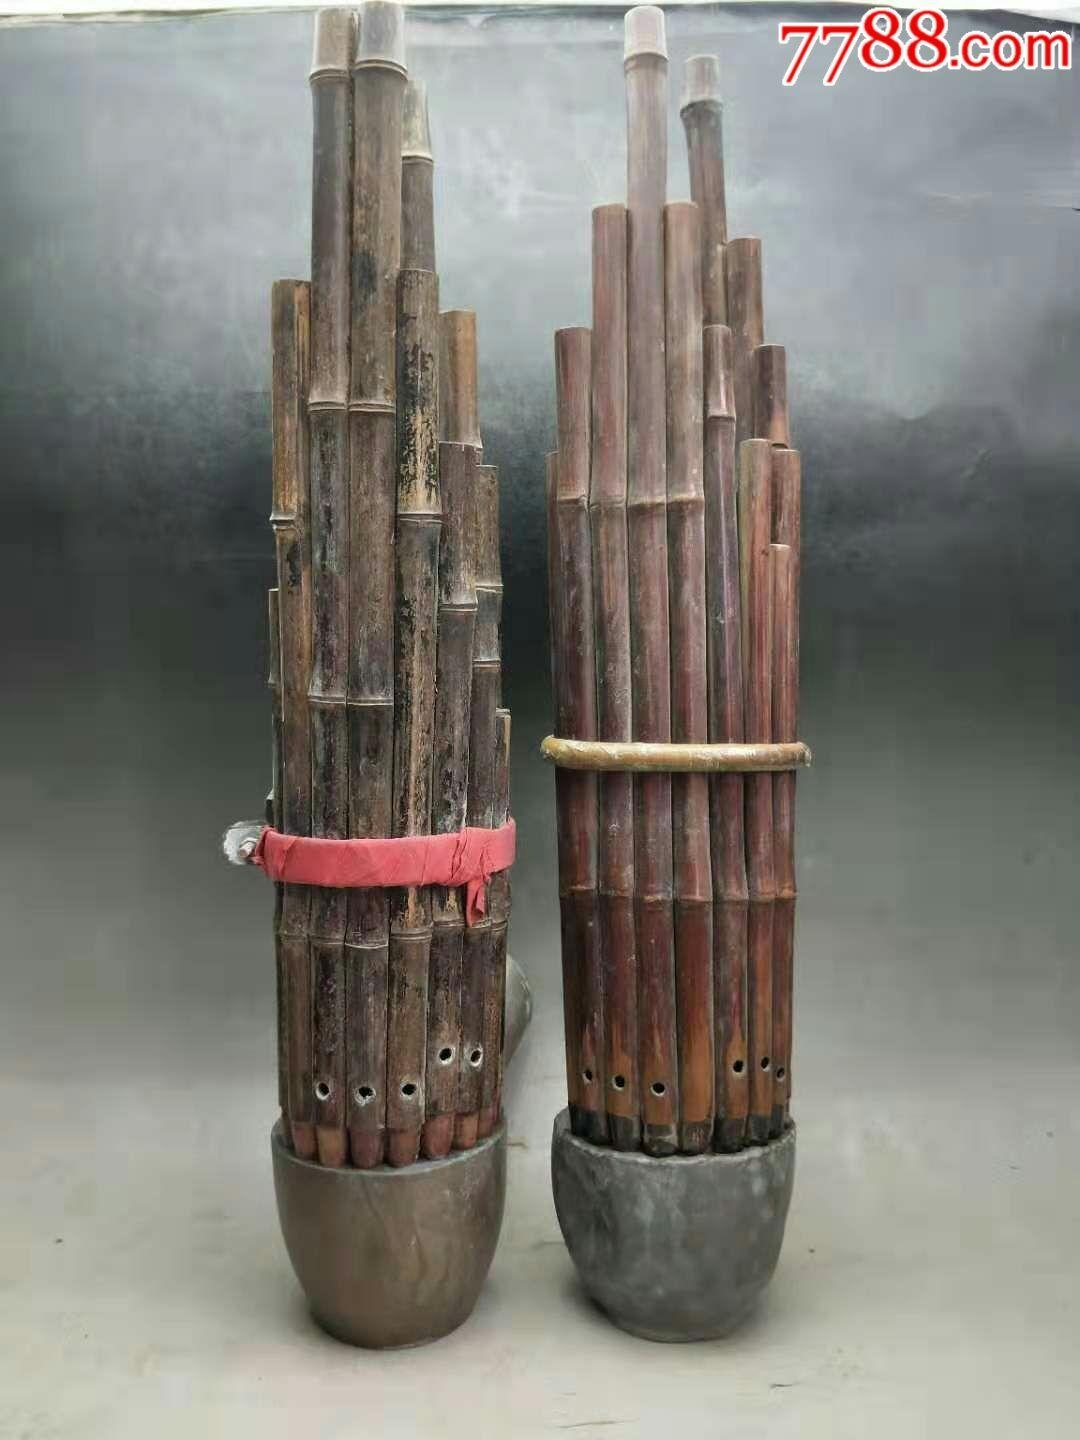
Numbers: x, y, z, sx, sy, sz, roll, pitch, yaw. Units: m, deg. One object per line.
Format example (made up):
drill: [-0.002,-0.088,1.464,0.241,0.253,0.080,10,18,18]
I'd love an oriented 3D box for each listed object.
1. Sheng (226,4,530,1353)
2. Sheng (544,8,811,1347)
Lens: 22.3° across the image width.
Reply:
Sheng: [-0.223,-0.053,3.704,0.395,1.772,0.238,0,3,-10]
Sheng: [0.192,-0.067,3.805,0.365,1.796,0.331,1,3,4]
